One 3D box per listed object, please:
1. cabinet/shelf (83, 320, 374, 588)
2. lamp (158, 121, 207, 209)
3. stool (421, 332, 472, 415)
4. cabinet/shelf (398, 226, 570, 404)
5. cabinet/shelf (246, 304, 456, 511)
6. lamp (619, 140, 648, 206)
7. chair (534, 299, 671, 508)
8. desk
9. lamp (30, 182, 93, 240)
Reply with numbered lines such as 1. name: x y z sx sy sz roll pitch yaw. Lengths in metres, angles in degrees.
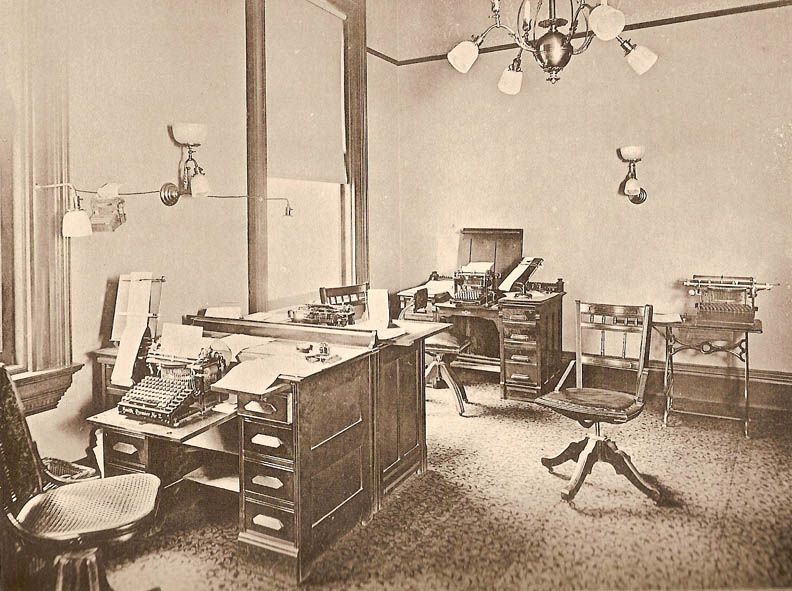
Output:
1. cabinet/shelf: -0.995 0.841 4.337 1.436 1.299 1.201 9 13 27
2. lamp: -1.565 -0.962 4.860 0.334 0.615 0.527 1 3 -19
3. stool: 0.426 0.676 6.439 0.527 0.660 0.538 -3 15 -3
4. cabinet/shelf: 0.914 0.148 6.799 1.484 1.523 0.878 2 12 30
5. cabinet/shelf: -0.229 0.792 4.723 1.076 1.088 0.764 4 9 26
6. lamp: 2.250 -1.152 6.276 0.278 0.545 0.284 3 3 28
7. chair: 1.484 0.719 4.865 0.844 1.321 0.949 3 7 29
8. desk: 2.816 0.738 5.883 0.980 1.175 0.521 0 -2 26
9. lamp: -2.119 -0.554 4.244 0.359 0.363 0.282 0 3 -37
